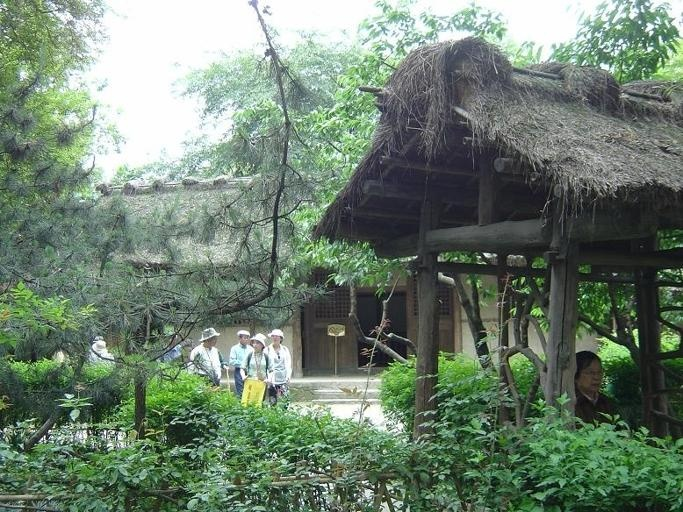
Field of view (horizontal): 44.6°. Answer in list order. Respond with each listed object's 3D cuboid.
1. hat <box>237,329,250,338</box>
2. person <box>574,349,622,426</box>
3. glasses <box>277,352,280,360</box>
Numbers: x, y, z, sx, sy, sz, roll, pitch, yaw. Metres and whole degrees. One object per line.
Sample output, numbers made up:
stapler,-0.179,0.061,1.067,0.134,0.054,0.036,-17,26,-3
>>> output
hat,-1.558,1.233,13.343,0.251,0.093,0.275,1,-8,-5
person,2.729,1.397,9.041,0.378,0.786,0.717,-5,-13,22
glasses,-0.975,1.541,12.931,0.057,0.083,0.020,1,-25,-18
